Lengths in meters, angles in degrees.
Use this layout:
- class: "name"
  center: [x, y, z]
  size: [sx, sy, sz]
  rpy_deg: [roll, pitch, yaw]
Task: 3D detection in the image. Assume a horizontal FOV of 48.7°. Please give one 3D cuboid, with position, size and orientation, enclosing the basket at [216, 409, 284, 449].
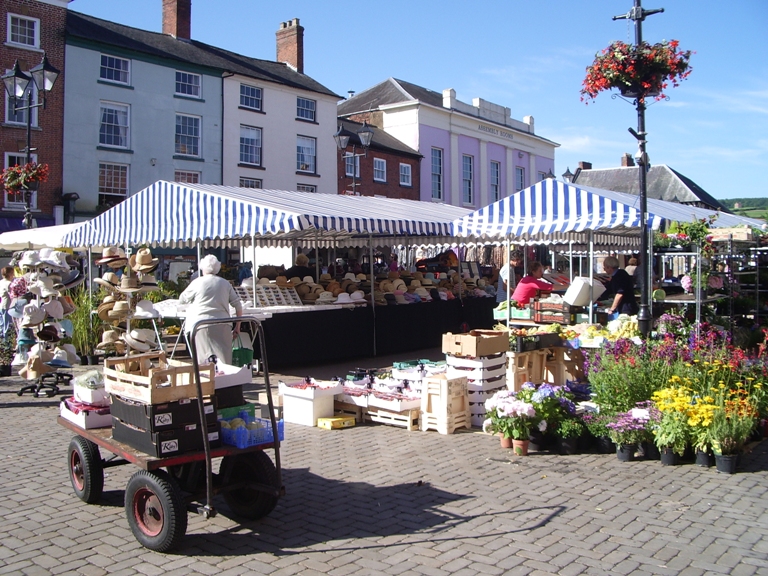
- class: "basket"
  center: [-1.407, 1.441, 8.501]
  size: [0.379, 0.142, 0.393]
  rpy_deg: [4, 5, 41]

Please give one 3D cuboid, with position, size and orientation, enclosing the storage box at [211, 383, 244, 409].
- class: "storage box"
  center: [-1.597, 1.034, 8.654]
  size: [0.187, 0.241, 0.350]
  rpy_deg: [-4, -2, 42]

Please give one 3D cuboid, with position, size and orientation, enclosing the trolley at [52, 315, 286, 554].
- class: "trolley"
  center: [-2.224, 1.573, 8.878]
  size: [2.632, 1.726, 1.513]
  rpy_deg: [9, 9, 44]

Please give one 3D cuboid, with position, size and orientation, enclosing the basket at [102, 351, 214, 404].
- class: "basket"
  center: [-2.302, 0.894, 8.626]
  size: [1.087, 0.341, 0.798]
  rpy_deg: [3, 5, 41]

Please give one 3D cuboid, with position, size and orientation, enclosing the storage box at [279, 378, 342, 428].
- class: "storage box"
  center: [-1.042, 1.583, 11.847]
  size: [0.701, 0.546, 0.576]
  rpy_deg: [3, 3, 40]

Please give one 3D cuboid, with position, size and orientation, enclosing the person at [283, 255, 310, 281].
- class: "person"
  center: [-2.007, -0.467, 19.381]
  size: [0.440, 0.327, 0.980]
  rpy_deg: [10, 37, -7]

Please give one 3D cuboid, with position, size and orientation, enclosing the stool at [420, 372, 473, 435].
- class: "stool"
  center: [0.829, 1.529, 11.448]
  size: [0.681, 0.950, 0.688]
  rpy_deg: [2, 6, 44]
